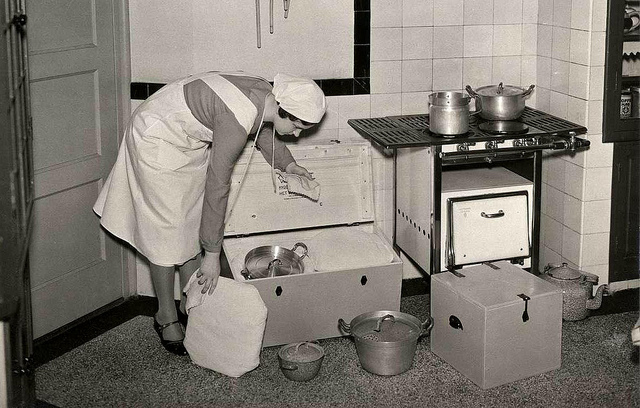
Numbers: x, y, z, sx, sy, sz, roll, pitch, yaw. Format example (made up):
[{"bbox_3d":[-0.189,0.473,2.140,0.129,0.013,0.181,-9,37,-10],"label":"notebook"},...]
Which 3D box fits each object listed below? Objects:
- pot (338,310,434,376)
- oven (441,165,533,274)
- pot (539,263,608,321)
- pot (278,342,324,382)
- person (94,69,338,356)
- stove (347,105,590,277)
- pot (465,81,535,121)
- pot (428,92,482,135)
[{"bbox_3d":[0.419,0.843,3.161,0.500,0.342,0.317,-15,24,-27],"label":"pot"},{"bbox_3d":[1.107,0.171,3.732,0.771,0.699,0.589,-7,13,-14],"label":"oven"},{"bbox_3d":[1.730,0.565,3.695,0.473,0.386,0.362,-3,11,-14],"label":"pot"},{"bbox_3d":[-0.109,0.955,3.111,0.268,0.190,0.175,-6,21,-8],"label":"pot"},{"bbox_3d":[-0.631,0.047,3.235,1.498,1.915,0.837,8,33,-9],"label":"person"},{"bbox_3d":[0.977,-0.118,3.821,1.598,1.175,1.162,-6,16,-17],"label":"stove"},{"bbox_3d":[1.236,-0.737,3.695,0.359,0.284,0.408,-6,22,-14],"label":"pot"},{"bbox_3d":[0.897,-0.610,3.417,0.350,0.258,0.266,11,23,34],"label":"pot"}]
